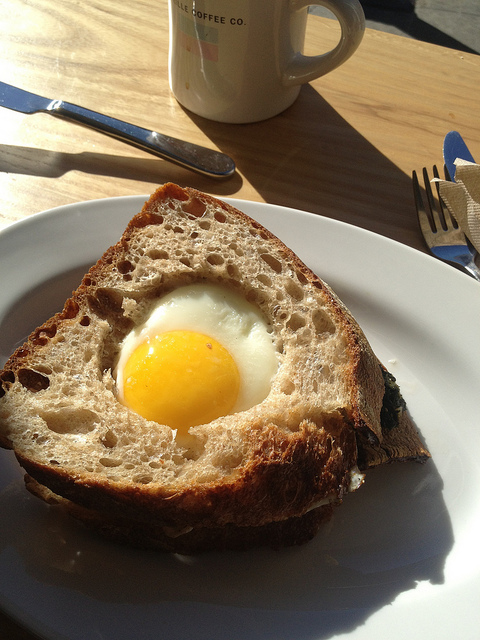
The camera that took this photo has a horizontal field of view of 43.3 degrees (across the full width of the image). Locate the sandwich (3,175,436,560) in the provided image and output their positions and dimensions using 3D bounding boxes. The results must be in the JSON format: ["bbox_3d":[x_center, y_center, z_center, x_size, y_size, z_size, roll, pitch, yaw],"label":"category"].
[{"bbox_3d":[-0.028,0.094,0.931,0.624,0.388,0.486,25,34,20],"label":"sandwich"}]

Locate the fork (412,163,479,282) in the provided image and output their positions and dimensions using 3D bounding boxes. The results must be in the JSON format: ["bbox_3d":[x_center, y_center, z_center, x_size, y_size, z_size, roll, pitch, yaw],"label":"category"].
[{"bbox_3d":[0.418,-0.217,1.301,0.071,0.044,0.322,-14,58,-2],"label":"fork"}]
